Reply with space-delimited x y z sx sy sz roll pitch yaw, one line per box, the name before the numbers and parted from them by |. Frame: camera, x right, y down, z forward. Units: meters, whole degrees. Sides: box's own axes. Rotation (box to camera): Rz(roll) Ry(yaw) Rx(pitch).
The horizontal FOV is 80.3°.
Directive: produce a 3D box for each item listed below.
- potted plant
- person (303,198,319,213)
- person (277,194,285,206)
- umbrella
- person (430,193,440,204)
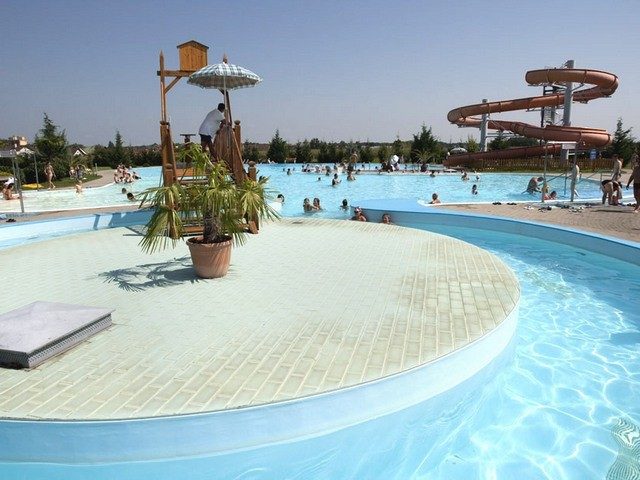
potted plant | -1.502 -0.373 5.544 1.786 1.707 2.081 -6 8 -13
person | -0.374 -1.386 14.876 0.604 0.384 0.767 0 9 -3
person | -1.527 -1.631 14.557 0.405 0.394 1.063 -1 18 -6
umbrella | -2.152 -3.479 8.925 1.609 1.173 1.606 -4 21 -6
person | 3.822 -1.462 12.806 0.269 0.327 0.996 1 11 14
